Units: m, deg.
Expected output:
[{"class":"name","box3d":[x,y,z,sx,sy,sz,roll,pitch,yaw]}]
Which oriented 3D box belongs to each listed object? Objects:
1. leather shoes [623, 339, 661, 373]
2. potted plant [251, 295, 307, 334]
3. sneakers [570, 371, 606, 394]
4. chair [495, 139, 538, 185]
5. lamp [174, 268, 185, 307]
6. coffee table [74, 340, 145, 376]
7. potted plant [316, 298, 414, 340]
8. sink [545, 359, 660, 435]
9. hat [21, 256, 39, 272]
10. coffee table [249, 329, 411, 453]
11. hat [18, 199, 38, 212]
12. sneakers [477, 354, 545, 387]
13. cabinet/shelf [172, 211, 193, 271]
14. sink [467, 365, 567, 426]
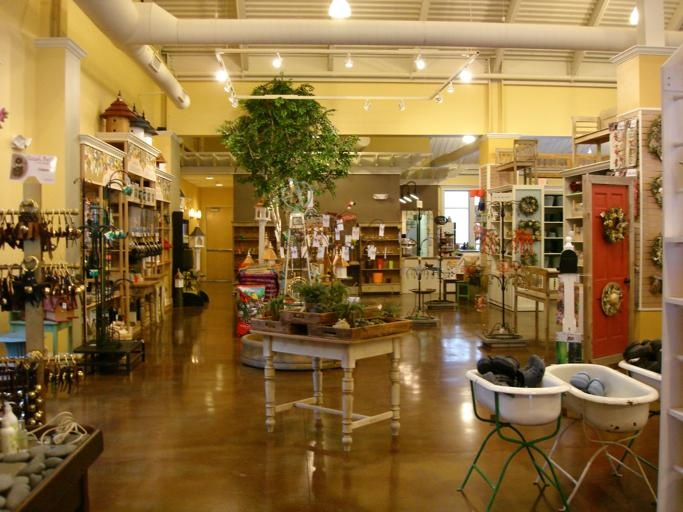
[{"class":"leather shoes","box3d":[2.506,0.814,4.612,0.207,0.116,0.296,-1,0,-29]},{"class":"potted plant","box3d":[-0.641,0.604,5.474,0.390,0.157,0.549,-1,4,15]},{"class":"sneakers","box3d":[1.791,0.931,4.045,0.172,0.069,0.176,14,10,41]},{"class":"chair","box3d":[4.000,-2.200,12.764,0.481,0.884,1.300,1,2,-1]},{"class":"lamp","box3d":[-3.794,0.723,12.891,0.196,0.735,0.336,-2,-1,-22]},{"class":"coffee table","box3d":[-3.065,1.303,7.427,0.755,0.360,0.897,-3,0,-11]},{"class":"potted plant","box3d":[0.184,0.560,4.939,0.847,0.304,0.408,-2,0,-30]},{"class":"sink","box3d":[1.853,0.919,3.936,0.476,0.268,0.811,-1,1,-3]},{"class":"hat","box3d":[-2.316,0.056,4.142,0.114,0.112,0.026,8,-4,-10]},{"class":"coffee table","box3d":[-0.064,1.071,5.260,1.462,1.085,1.002,1,2,42]},{"class":"hat","box3d":[-2.346,-0.382,4.157,0.103,0.072,0.105,7,7,29]},{"class":"sneakers","box3d":[1.227,0.833,4.061,0.391,0.162,0.246,-2,1,-2]},{"class":"cabinet/shelf","box3d":[-3.987,-0.286,13.861,0.452,1.291,2.095,-2,0,-15]},{"class":"sink","box3d":[1.221,0.979,3.801,0.368,0.173,0.570,1,0,-8]}]
